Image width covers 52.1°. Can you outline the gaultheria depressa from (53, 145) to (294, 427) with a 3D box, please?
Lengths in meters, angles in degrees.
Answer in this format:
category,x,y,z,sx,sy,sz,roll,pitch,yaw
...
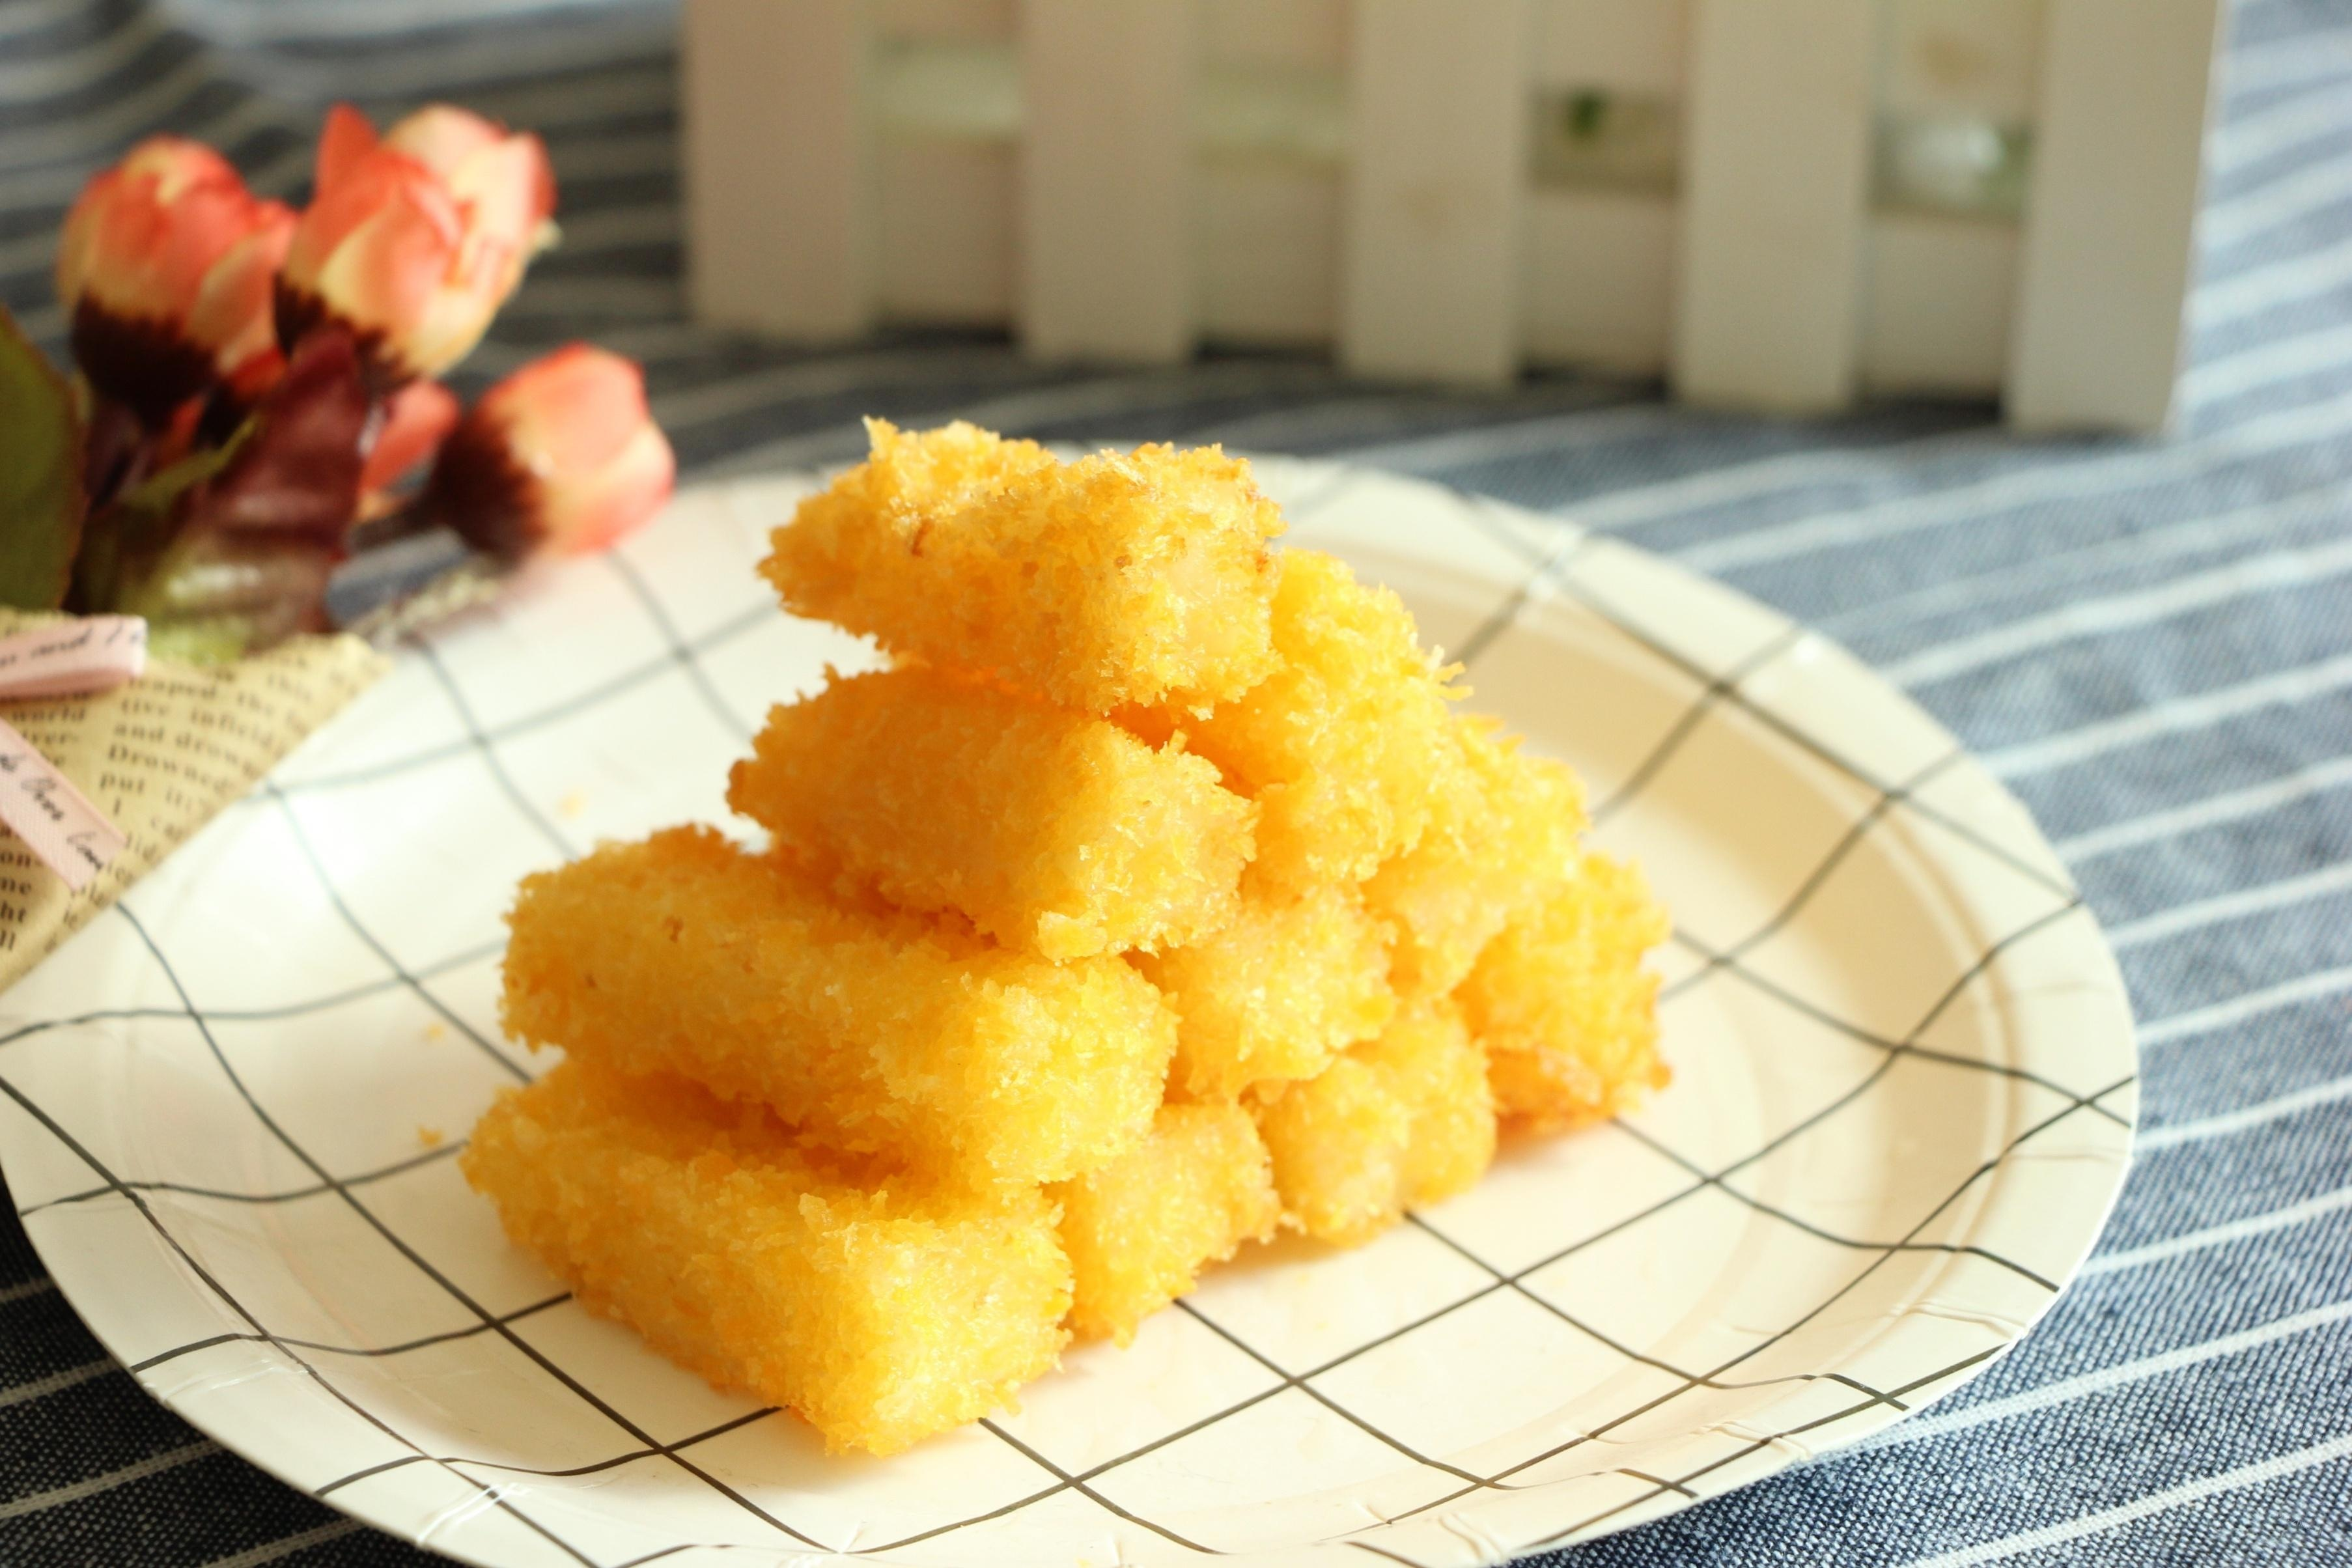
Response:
category,x,y,z,sx,sy,sz,roll,pitch,yaw
gaultheria depressa,-0.639,-0.320,1.542,0.150,0.113,0.150,32,61,19

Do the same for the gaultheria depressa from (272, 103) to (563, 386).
category,x,y,z,sx,sy,sz,roll,pitch,yaw
gaultheria depressa,-0.474,-0.348,1.563,0.115,0.159,0.191,-3,95,13

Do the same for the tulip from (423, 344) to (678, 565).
category,x,y,z,sx,sy,sz,roll,pitch,yaw
tulip,-0.413,-0.214,1.593,0.158,0.120,0.096,-35,61,-10
